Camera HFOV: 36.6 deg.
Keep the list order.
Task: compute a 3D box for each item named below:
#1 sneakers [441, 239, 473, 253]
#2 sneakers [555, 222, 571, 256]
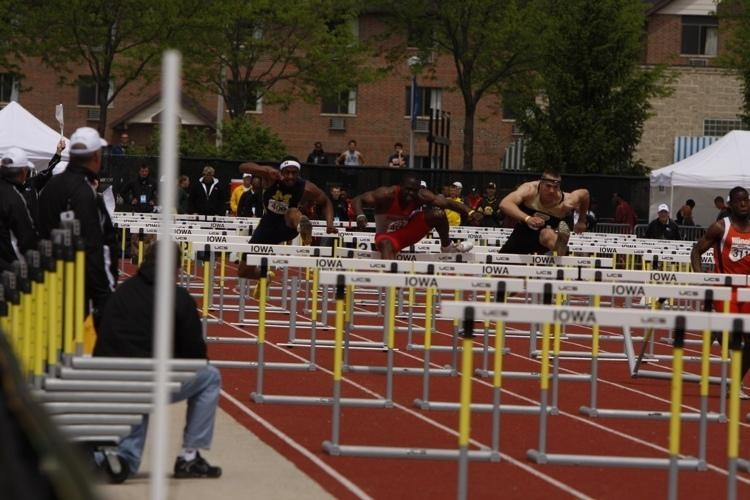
[{"bbox_3d":[1.331,-0.095,18.543,0.332,0.145,0.263,-7,-7,13],"label":"sneakers"},{"bbox_3d":[2.952,-0.179,17.903,0.194,0.618,0.237,5,12,10],"label":"sneakers"}]
